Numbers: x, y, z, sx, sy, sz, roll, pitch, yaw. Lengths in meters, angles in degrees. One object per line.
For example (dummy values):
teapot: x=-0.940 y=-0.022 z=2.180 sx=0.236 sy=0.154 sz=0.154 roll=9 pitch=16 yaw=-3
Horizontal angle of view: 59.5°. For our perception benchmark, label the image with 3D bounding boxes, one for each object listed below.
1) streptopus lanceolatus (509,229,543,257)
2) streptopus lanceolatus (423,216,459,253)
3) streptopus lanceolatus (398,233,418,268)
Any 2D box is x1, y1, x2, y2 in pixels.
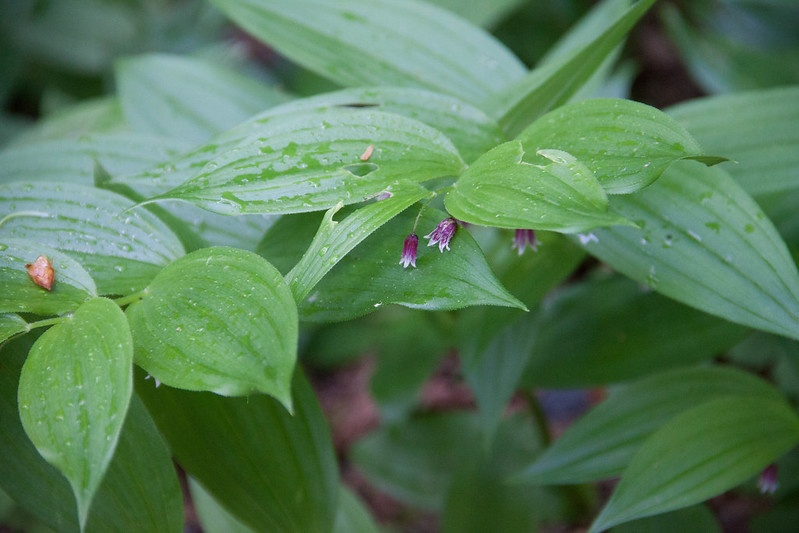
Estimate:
streptopus lanceolatus: x=0.379 y=-0.075 z=2.107 sx=0.079 sy=0.072 sz=0.174 roll=-13 pitch=-4 yaw=10
streptopus lanceolatus: x=0.111 y=-0.081 z=1.808 sx=0.074 sy=0.085 sz=0.027 roll=32 pitch=3 yaw=14
streptopus lanceolatus: x=0.027 y=-0.048 z=1.821 sx=0.055 sy=0.106 sz=0.051 roll=7 pitch=2 yaw=8
